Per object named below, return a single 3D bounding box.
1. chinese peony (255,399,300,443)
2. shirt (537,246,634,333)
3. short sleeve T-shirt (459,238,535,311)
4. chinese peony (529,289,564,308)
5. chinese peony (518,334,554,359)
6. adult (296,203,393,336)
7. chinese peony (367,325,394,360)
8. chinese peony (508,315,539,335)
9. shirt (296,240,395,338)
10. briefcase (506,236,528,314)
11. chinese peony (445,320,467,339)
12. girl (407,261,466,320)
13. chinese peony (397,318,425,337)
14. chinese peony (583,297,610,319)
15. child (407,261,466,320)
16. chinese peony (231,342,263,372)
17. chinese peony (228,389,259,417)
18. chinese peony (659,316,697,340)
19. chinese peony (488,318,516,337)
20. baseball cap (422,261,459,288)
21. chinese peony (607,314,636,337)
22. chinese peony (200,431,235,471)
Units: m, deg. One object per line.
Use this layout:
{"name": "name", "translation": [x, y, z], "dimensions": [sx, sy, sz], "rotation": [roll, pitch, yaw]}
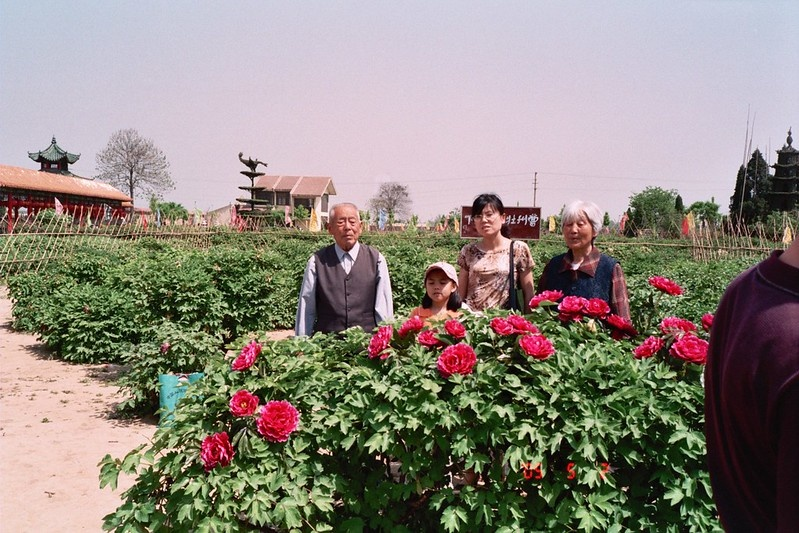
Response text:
{"name": "chinese peony", "translation": [-0.737, 0.928, 3.039], "dimensions": [0.229, 0.237, 0.137], "rotation": [-15, -42, 14]}
{"name": "shirt", "translation": [1.550, 0.154, 4.247], "dimensions": [0.806, 0.654, 0.373], "rotation": [7, 5, 36]}
{"name": "short sleeve T-shirt", "translation": [0.886, 0.113, 4.788], "dimensions": [0.754, 0.756, 0.400], "rotation": [-3, -7, 27]}
{"name": "chinese peony", "translation": [1.037, 0.273, 3.509], "dimensions": [0.174, 0.097, 0.177], "rotation": [-24, 4, 14]}
{"name": "chinese peony", "translation": [0.816, 0.492, 3.002], "dimensions": [0.203, 0.157, 0.133], "rotation": [0, 6, 4]}
{"name": "adult", "translation": [-0.497, 0.311, 4.662], "dimensions": [0.987, 1.694, 0.549], "rotation": [2, 14, 2]}
{"name": "chinese peony", "translation": [-0.119, 0.490, 3.179], "dimensions": [0.156, 0.217, 0.147], "rotation": [0, 6, -3]}
{"name": "chinese peony", "translation": [0.753, 0.358, 3.082], "dimensions": [0.124, 0.059, 0.122], "rotation": [25, -1, 25]}
{"name": "shirt", "translation": [-0.485, 0.263, 4.600], "dimensions": [0.865, 0.965, 0.332], "rotation": [0, 19, -9]}
{"name": "briefcase", "translation": [1.061, 0.160, 4.676], "dimensions": [0.076, 0.659, 0.164], "rotation": [2, 5, -9]}
{"name": "chinese peony", "translation": [0.350, 0.404, 3.149], "dimensions": [0.132, 0.121, 0.092], "rotation": [1, 6, 8]}
{"name": "girl", "translation": [0.344, 0.220, 4.248], "dimensions": [0.435, 0.497, 0.470], "rotation": [-3, -8, 11]}
{"name": "chinese peony", "translation": [0.084, 0.387, 3.227], "dimensions": [0.129, 0.104, 0.128], "rotation": [-30, 3, -29]}
{"name": "chinese peony", "translation": [1.324, 0.292, 3.370], "dimensions": [0.139, 0.143, 0.157], "rotation": [3, 6, 27]}
{"name": "child", "translation": [0.344, 0.234, 4.326], "dimensions": [0.430, 0.488, 0.445], "rotation": [2, -7, -2]}
{"name": "chinese peony", "translation": [-0.977, 0.597, 3.256], "dimensions": [0.188, 0.195, 0.188], "rotation": [-5, 8, -43]}
{"name": "chinese peony", "translation": [-0.942, 0.831, 3.046], "dimensions": [0.147, 0.156, 0.093], "rotation": [-18, -18, -6]}
{"name": "chinese peony", "translation": [1.752, 0.387, 3.168], "dimensions": [0.164, 0.081, 0.147], "rotation": [-10, 16, -34]}
{"name": "chinese peony", "translation": [0.628, 0.379, 3.076], "dimensions": [0.138, 0.116, 0.094], "rotation": [1, 6, 13]}
{"name": "baseball cap", "translation": [0.360, 0.054, 4.347], "dimensions": [0.267, 0.178, 0.379], "rotation": [0, 6, 1]}
{"name": "chinese peony", "translation": [1.486, 0.407, 3.365], "dimensions": [0.147, 0.147, 0.184], "rotation": [-5, 7, -39]}
{"name": "chinese peony", "translation": [-1.098, 1.097, 3.045], "dimensions": [0.203, 0.216, 0.103], "rotation": [-4, 2, -4]}
